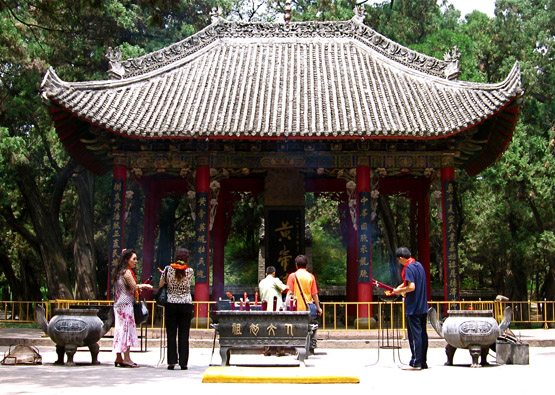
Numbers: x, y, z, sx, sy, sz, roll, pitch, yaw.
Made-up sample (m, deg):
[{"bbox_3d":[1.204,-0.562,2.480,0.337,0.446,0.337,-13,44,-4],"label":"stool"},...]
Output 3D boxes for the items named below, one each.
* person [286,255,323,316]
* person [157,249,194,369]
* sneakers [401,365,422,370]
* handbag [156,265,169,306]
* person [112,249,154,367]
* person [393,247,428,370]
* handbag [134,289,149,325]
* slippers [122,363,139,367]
[{"bbox_3d":[0.613,1.971,17.213,0.774,1.353,1.063,0,-7,2],"label":"person"},{"bbox_3d":[-2.099,2.293,15.749,0.669,2.500,0.662,1,-7,-5],"label":"person"},{"bbox_3d":[2.789,3.518,15.626,0.375,0.167,0.142,3,-15,6],"label":"sneakers"},{"bbox_3d":[-2.380,1.826,15.623,0.230,0.809,0.319,1,-7,-8],"label":"handbag"},{"bbox_3d":[-3.159,2.323,15.945,0.573,2.447,0.588,2,-7,-12],"label":"person"},{"bbox_3d":[2.791,2.280,15.719,0.614,2.527,0.867,-4,-8,29],"label":"person"},{"bbox_3d":[-2.927,2.303,16.147,0.323,0.797,0.530,-5,4,-7],"label":"handbag"},{"bbox_3d":[-3.087,3.510,15.844,0.244,0.068,0.132,0,-12,1],"label":"slippers"}]
